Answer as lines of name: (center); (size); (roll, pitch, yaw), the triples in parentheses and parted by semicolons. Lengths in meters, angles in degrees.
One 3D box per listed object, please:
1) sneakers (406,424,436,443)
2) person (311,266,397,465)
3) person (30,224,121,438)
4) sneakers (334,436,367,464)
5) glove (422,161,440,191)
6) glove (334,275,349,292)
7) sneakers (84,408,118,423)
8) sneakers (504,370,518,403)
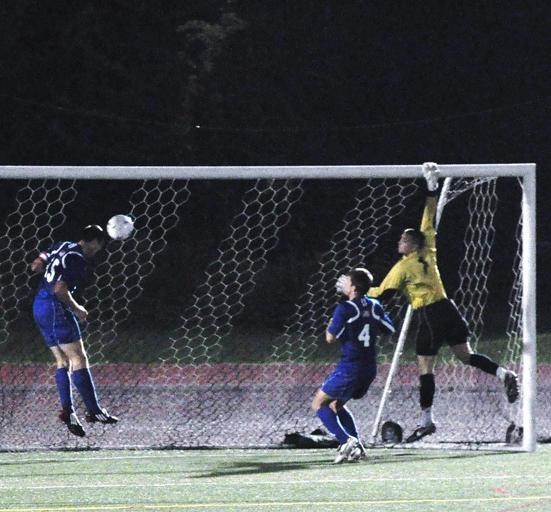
sneakers: (1.324, 1.613, 8.206); (0.344, 0.159, 0.112); (-4, 7, -37)
person: (0.661, 0.933, 7.697); (0.678, 1.643, 0.537); (1, 6, 8)
person: (-1.887, 0.715, 8.360); (0.719, 1.983, 0.931); (-2, 6, -15)
sneakers: (0.632, 1.624, 7.601); (0.262, 0.230, 0.192); (0, 6, 4)
glove: (1.401, -0.721, 8.126); (0.161, 0.244, 0.105); (1, 5, 10)
glove: (0.595, 0.239, 7.857); (0.140, 0.135, 0.111); (15, -1, -34)
sneakers: (-1.584, 1.459, 8.144); (0.276, 0.164, 0.263); (-1, 5, -10)
sneakers: (2.143, 1.187, 8.158); (0.139, 0.312, 0.168); (0, 6, 4)
